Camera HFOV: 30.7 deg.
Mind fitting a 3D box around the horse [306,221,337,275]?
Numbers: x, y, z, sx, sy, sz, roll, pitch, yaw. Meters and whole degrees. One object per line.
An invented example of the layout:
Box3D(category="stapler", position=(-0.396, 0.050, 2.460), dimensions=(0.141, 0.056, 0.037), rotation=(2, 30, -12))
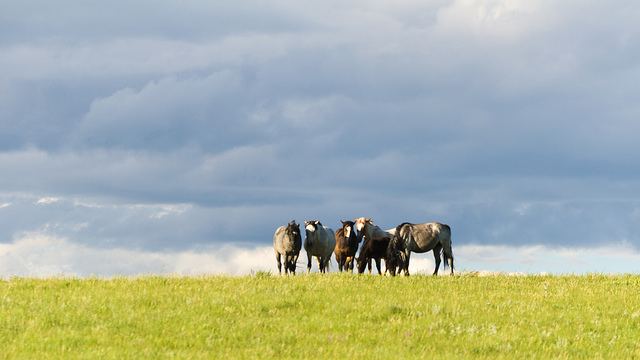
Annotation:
Box3D(category="horse", position=(-0.051, 3.939, 68.063), dimensions=(1.987, 3.280, 5.825), rotation=(0, -6, 8))

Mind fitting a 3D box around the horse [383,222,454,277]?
Box3D(category="horse", position=(5.370, 3.669, 63.185), dimensions=(3.582, 2.896, 0.876), rotation=(6, -12, -21))
